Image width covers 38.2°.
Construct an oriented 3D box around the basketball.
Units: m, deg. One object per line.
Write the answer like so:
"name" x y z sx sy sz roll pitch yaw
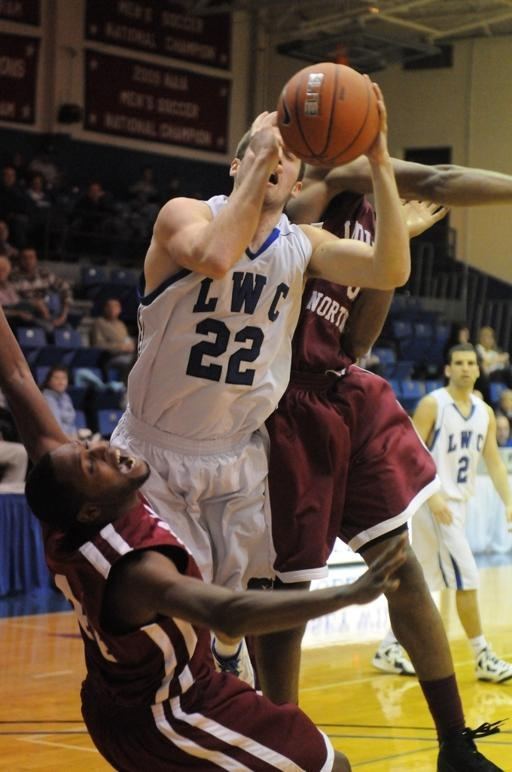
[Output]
"basketball" 0.126 -0.548 1.576 0.231 0.240 0.209 4 3 -8
